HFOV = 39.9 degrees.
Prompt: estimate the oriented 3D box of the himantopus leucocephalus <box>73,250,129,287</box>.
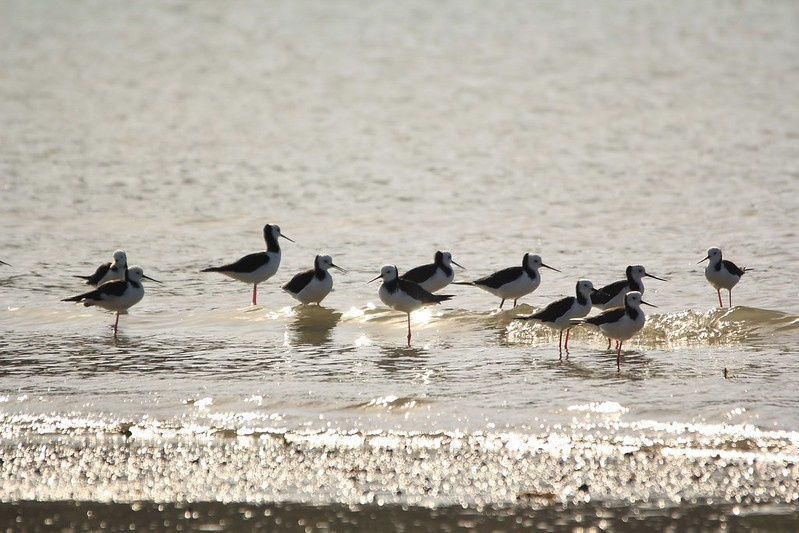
[{"bbox_3d":[-7.866,0.194,29.249,1.816,0.935,0.565,-10,-17,32],"label":"himantopus leucocephalus"}]
